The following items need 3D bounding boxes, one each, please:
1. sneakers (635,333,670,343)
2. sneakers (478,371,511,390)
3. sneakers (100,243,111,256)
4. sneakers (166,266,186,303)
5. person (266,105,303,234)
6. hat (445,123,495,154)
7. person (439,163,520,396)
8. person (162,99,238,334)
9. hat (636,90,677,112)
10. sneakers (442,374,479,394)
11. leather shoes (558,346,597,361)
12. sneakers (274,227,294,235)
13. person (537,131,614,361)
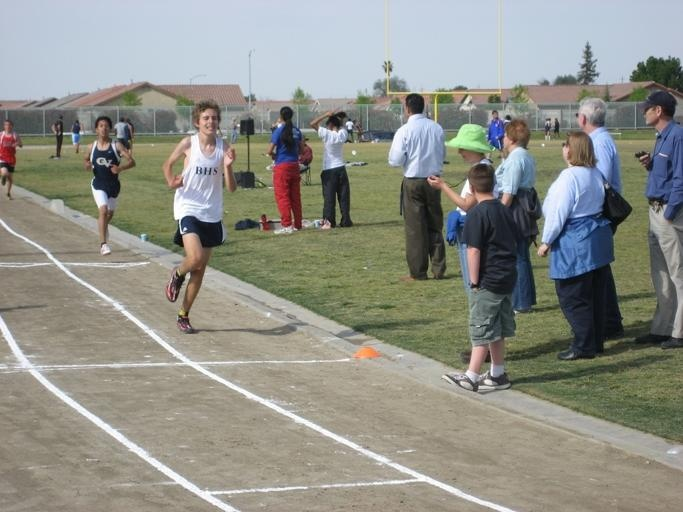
[{"bbox_3d":[3.429,0.906,14.916,0.366,0.124,0.118,-3,0,9],"label":"sneakers"},{"bbox_3d":[1.554,1.274,13.791,0.367,0.126,0.143,1,1,13],"label":"sneakers"},{"bbox_3d":[-3.281,-0.085,19.061,0.117,0.108,0.287,-1,-1,-24],"label":"sneakers"},{"bbox_3d":[-1.864,0.317,15.283,0.221,0.464,0.170,-13,-38,21],"label":"sneakers"},{"bbox_3d":[-0.882,-1.418,22.008,0.548,2.014,1.389,0,7,-2],"label":"person"},{"bbox_3d":[1.446,-1.264,14.802,0.408,0.150,0.401,10,4,-43],"label":"hat"},{"bbox_3d":[1.444,0.229,13.636,0.665,2.275,0.348,1,7,1],"label":"person"},{"bbox_3d":[-1.566,-0.431,15.060,0.783,2.568,0.851,0,7,-7],"label":"person"},{"bbox_3d":[3.444,-1.669,14.617,0.337,0.238,0.435,2,7,10],"label":"hat"},{"bbox_3d":[1.223,1.263,13.733,0.374,0.137,0.129,22,-24,30],"label":"sneakers"},{"bbox_3d":[2.529,1.036,14.446,0.405,0.137,0.146,3,0,4],"label":"leather shoes"},{"bbox_3d":[-0.906,-0.412,21.804,0.363,0.128,0.124,4,6,24],"label":"sneakers"},{"bbox_3d":[2.493,-0.102,14.332,0.776,2.420,0.336,1,7,4],"label":"person"}]
